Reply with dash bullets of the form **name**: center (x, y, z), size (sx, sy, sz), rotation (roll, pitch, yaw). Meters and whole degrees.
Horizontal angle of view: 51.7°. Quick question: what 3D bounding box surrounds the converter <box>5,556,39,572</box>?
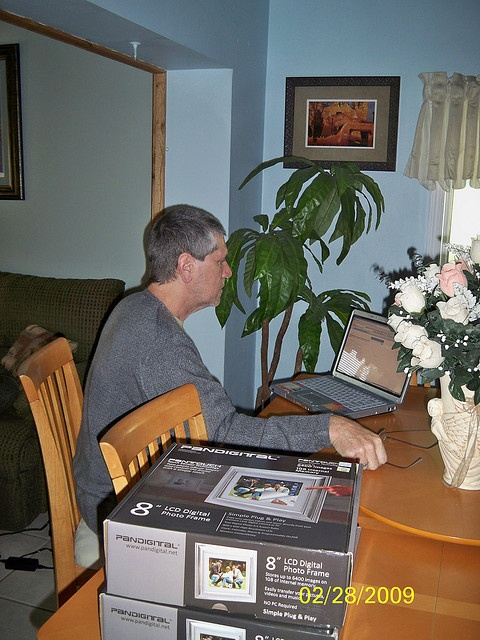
- **converter**: center (-0.888, 0.987, 2.029), size (0.106, 0.025, 0.057), rotation (3, 3, 1)

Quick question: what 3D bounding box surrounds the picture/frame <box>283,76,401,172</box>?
- **picture/frame**: center (0.632, -1.175, 2.932), size (0.798, 0.648, 0.038), rotation (3, 7, 15)

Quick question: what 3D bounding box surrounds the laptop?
- **laptop**: center (0.346, 0.133, 1.651), size (0.437, 0.272, 0.457), rotation (-7, 10, -40)

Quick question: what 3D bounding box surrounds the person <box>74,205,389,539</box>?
- **person**: center (-0.073, 0.278, 1.413), size (0.671, 1.111, 0.650), rotation (-3, 19, -22)

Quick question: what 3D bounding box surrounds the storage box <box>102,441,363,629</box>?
- **storage box**: center (0.003, 0.255, 0.637), size (0.303, 0.098, 0.319), rotation (2, 3, -3)
